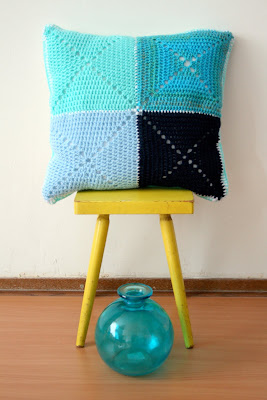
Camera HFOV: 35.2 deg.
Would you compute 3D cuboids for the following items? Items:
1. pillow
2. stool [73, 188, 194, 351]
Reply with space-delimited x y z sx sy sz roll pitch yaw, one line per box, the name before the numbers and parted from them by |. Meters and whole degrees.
pillow | 0.014 -0.163 0.786 0.348 0.288 0.271 -1 36 2
stool | 0.015 0.117 0.806 0.279 0.317 0.244 -1 1 -3
